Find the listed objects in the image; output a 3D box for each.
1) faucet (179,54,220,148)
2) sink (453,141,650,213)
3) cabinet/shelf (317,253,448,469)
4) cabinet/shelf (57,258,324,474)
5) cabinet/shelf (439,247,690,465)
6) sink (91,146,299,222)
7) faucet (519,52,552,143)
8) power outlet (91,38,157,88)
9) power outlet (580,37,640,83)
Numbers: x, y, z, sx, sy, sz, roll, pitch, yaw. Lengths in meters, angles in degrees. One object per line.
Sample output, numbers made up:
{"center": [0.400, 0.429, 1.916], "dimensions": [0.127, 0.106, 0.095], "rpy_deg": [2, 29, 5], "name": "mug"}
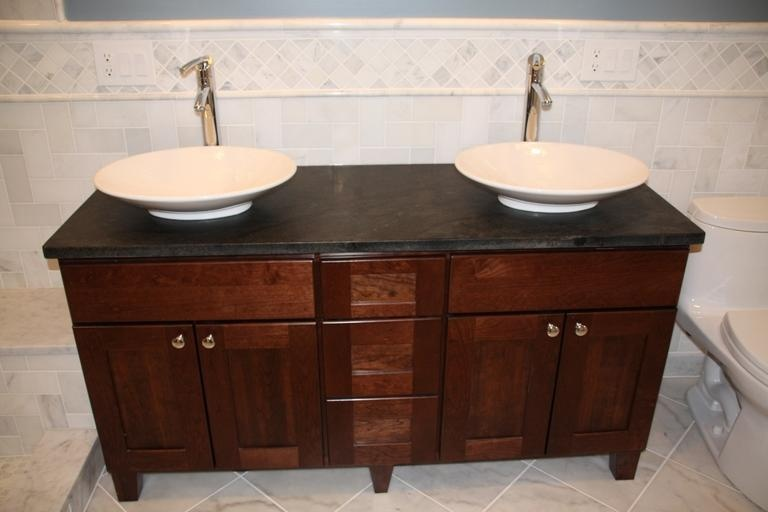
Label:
{"center": [-0.620, -0.516, 1.934], "dimensions": [0.099, 0.299, 0.242], "rpy_deg": [-8, 29, -14], "name": "faucet"}
{"center": [0.553, -0.257, 1.907], "dimensions": [0.621, 0.159, 0.397], "rpy_deg": [3, 26, 5], "name": "sink"}
{"center": [-0.066, 0.352, 2.021], "dimensions": [0.514, 0.690, 0.514], "rpy_deg": [-4, 7, -37], "name": "cabinet/shelf"}
{"center": [-0.576, 0.265, 1.704], "dimensions": [0.531, 0.321, 0.250], "rpy_deg": [-2, 26, -4], "name": "cabinet/shelf"}
{"center": [0.519, 0.312, 2.107], "dimensions": [0.841, 0.865, 0.505], "rpy_deg": [-1, 16, -12], "name": "cabinet/shelf"}
{"center": [-0.612, -0.234, 1.873], "dimensions": [0.632, 0.161, 0.423], "rpy_deg": [-5, 26, -10], "name": "sink"}
{"center": [0.537, -0.542, 1.992], "dimensions": [0.090, 0.302, 0.243], "rpy_deg": [6, 28, 12], "name": "faucet"}
{"center": [-0.937, -0.699, 2.059], "dimensions": [0.197, 0.152, 0.044], "rpy_deg": [-5, 20, -6], "name": "power outlet"}
{"center": [0.846, -0.738, 2.117], "dimensions": [0.177, 0.109, 0.022], "rpy_deg": [0, 30, 3], "name": "power outlet"}
